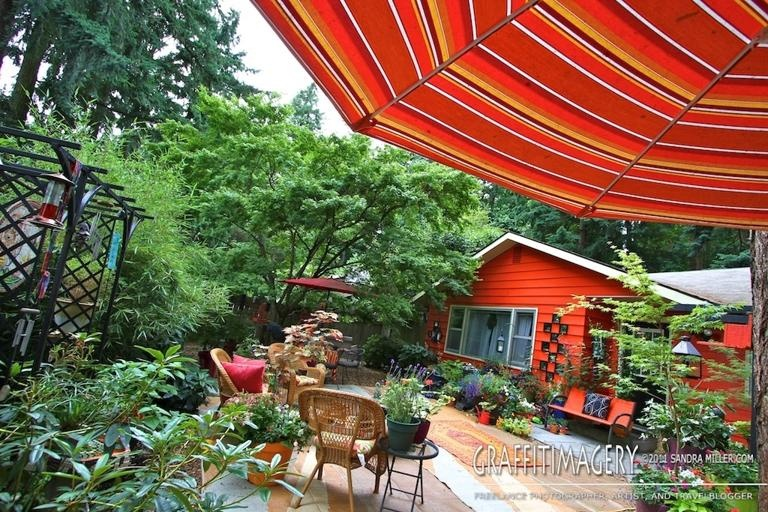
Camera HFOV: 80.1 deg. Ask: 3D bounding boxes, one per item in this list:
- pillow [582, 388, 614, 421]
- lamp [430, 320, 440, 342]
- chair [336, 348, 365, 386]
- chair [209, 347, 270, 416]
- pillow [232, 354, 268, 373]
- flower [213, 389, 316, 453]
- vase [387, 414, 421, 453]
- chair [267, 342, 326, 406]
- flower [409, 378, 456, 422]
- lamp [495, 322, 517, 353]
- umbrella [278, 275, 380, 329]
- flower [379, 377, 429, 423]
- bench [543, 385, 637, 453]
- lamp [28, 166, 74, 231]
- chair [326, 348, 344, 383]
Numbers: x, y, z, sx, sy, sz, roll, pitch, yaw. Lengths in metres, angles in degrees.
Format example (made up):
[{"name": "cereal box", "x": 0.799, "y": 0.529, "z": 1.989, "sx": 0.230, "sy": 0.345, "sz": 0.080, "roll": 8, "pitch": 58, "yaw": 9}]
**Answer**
[{"name": "pillow", "x": 3.891, "y": 2.729, "z": 8.322, "sx": 0.129, "sy": 0.380, "sz": 0.415, "roll": 30, "pitch": -14, "yaw": -37}, {"name": "lamp", "x": 1.619, "y": 2.370, "z": 14.241, "sx": 0.208, "sy": 0.549, "sz": 0.395, "roll": 4, "pitch": -3, "yaw": -17}, {"name": "chair", "x": -0.743, "y": 2.511, "z": 10.651, "sx": 0.700, "sy": 0.763, "sz": 0.590, "roll": 9, "pitch": -3, "yaw": 12}, {"name": "chair", "x": -1.858, "y": 1.600, "z": 5.858, "sx": 0.916, "sy": 0.820, "sz": 0.831, "roll": 2, "pitch": -23, "yaw": -2}, {"name": "pillow", "x": -1.800, "y": 1.450, "z": 6.165, "sx": 0.582, "sy": 0.192, "sz": 0.193, "roll": -2, "pitch": -44, "yaw": 24}, {"name": "flower", "x": -1.250, "y": 1.777, "z": 5.050, "sx": 1.115, "sy": 0.469, "sz": 1.002, "roll": 20, "pitch": -15, "yaw": -28}, {"name": "vase", "x": 0.177, "y": 1.782, "z": 4.568, "sx": 0.356, "sy": 0.268, "sz": 0.357, "roll": 10, "pitch": -10, "yaw": -18}, {"name": "chair", "x": -1.400, "y": 1.919, "z": 7.218, "sx": 0.958, "sy": 0.902, "sz": 0.925, "roll": 7, "pitch": -1, "yaw": -13}, {"name": "flower", "x": 1.010, "y": 2.750, "z": 8.663, "sx": 0.655, "sy": 0.487, "sz": 0.545, "roll": 8, "pitch": -6, "yaw": 19}, {"name": "lamp", "x": 2.930, "y": 2.071, "z": 11.237, "sx": 0.378, "sy": 0.808, "sz": 1.150, "roll": 11, "pitch": 1, "yaw": 16}, {"name": "umbrella", "x": -1.287, "y": 0.844, "z": 11.212, "sx": 1.823, "sy": 0.616, "sz": 2.501, "roll": 10, "pitch": 1, "yaw": 0}, {"name": "flower", "x": 0.189, "y": 1.461, "z": 4.781, "sx": 0.435, "sy": 0.456, "sz": 0.457, "roll": 3, "pitch": -9, "yaw": 2}, {"name": "bench", "x": 3.757, "y": 2.927, "z": 8.411, "sx": 0.566, "sy": 0.757, "sz": 1.409, "roll": 12, "pitch": -7, "yaw": -24}, {"name": "lamp", "x": -2.429, "y": -0.403, "z": 3.356, "sx": 0.262, "sy": 0.420, "sz": 0.257, "roll": 16, "pitch": -1, "yaw": 7}, {"name": "chair", "x": -1.273, "y": 2.463, "z": 10.340, "sx": 0.430, "sy": 0.602, "sz": 0.486, "roll": 2, "pitch": -7, "yaw": 35}]
